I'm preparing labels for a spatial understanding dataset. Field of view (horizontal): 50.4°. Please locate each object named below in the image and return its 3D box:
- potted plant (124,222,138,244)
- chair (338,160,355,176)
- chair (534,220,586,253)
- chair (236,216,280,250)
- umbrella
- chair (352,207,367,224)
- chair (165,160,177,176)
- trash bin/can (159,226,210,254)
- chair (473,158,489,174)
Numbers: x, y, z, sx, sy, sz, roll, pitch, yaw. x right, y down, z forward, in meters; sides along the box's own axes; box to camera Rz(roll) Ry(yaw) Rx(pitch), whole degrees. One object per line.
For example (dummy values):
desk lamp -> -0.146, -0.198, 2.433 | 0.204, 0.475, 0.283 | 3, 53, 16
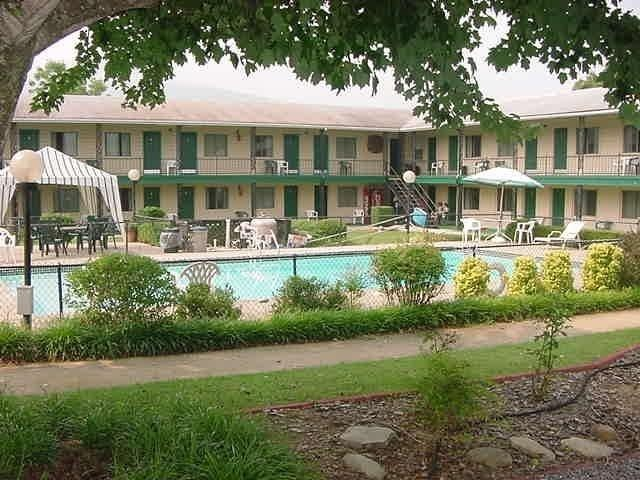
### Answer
potted plant -> -7.610, -0.225, 27.686 | 0.399, 0.832, 1.257 | -2, -3, -17
chair -> 1.371, -3.836, 38.281 | 0.854, 1.103, 1.176 | 0, 3, 20
chair -> 9.066, -0.061, 25.710 | 2.085, 1.271, 1.233 | 0, 0, -23
chair -> -2.534, -0.186, 25.415 | 1.759, 1.297, 1.050 | -4, -1, 25
umbrella -> 7.415, -1.491, 28.274 | 3.162, 2.639, 3.243 | 2, 2, 39
chair -> 2.231, -1.280, 38.466 | 0.930, 1.155, 0.842 | 0, 1, -6
chair -> -7.266, -3.533, 33.457 | 0.522, 0.937, 1.534 | -2, -3, -13
trash bin/can -> -4.801, 0.056, 24.107 | 1.291, 0.574, 0.990 | 1, 2, 3
chair -> 8.325, -3.777, 35.046 | 0.774, 1.045, 0.758 | -10, 14, -39
